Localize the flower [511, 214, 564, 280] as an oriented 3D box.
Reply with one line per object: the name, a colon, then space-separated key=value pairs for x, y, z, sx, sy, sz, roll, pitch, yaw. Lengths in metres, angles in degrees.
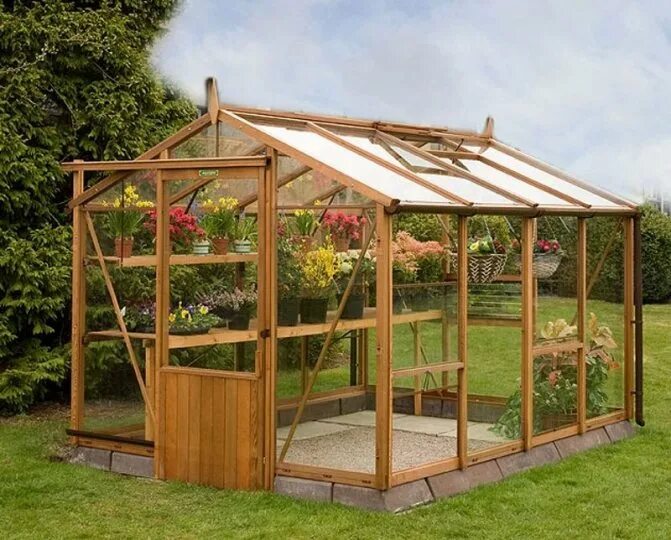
flower: x=2.016 y=-0.217 z=8.597 sx=0.512 sy=0.646 sz=0.554 roll=1 pitch=-2 yaw=-4

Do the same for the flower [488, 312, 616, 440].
flower: x=2.299 y=1.143 z=8.876 sx=1.081 sy=1.095 sz=0.708 roll=-9 pitch=17 yaw=-35

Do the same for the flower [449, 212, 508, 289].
flower: x=1.514 y=-0.195 z=8.530 sx=0.411 sy=0.640 sz=0.470 roll=2 pitch=6 yaw=5

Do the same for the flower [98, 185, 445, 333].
flower: x=-0.895 y=0.004 z=7.928 sx=1.821 sy=1.055 sz=1.838 roll=1 pitch=2 yaw=33
